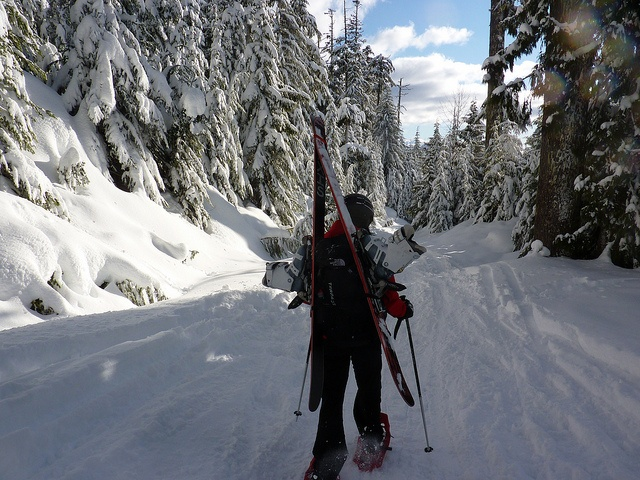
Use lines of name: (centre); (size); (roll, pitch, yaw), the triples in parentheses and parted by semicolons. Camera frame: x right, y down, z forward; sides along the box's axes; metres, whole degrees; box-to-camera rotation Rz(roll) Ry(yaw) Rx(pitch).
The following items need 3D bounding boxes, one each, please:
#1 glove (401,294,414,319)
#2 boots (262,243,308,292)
glove: (1.148, 0.882, 6.050); (0.179, 0.307, 0.097); (3, -5, -5)
boots: (-0.474, 0.425, 6.329); (0.567, 0.738, 0.492); (8, -18, 7)
